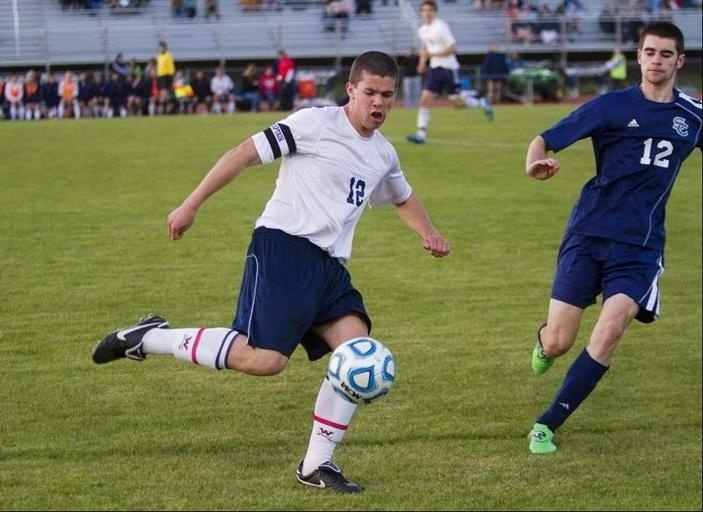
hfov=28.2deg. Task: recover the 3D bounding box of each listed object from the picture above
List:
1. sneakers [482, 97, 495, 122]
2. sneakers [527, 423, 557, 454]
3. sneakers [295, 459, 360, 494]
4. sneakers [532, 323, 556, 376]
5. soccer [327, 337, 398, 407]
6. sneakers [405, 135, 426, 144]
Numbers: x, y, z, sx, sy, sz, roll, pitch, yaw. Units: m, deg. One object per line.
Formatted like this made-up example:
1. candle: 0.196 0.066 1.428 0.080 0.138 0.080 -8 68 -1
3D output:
1. sneakers: 1.738 -1.861 17.726 0.113 0.345 0.153 -7 10 11
2. sneakers: 1.388 1.300 10.112 0.207 0.184 0.194 1 12 -1
3. sneakers: -0.143 1.515 9.745 0.535 0.186 0.196 7 11 31
4. sneakers: 1.462 0.728 10.836 0.159 0.430 0.190 4 34 -6
5. soccer: 0.066 0.801 9.746 0.475 0.439 0.441 -4 -6 -3
6. sneakers: 0.837 -1.470 17.724 0.091 0.117 0.262 -2 15 -18
